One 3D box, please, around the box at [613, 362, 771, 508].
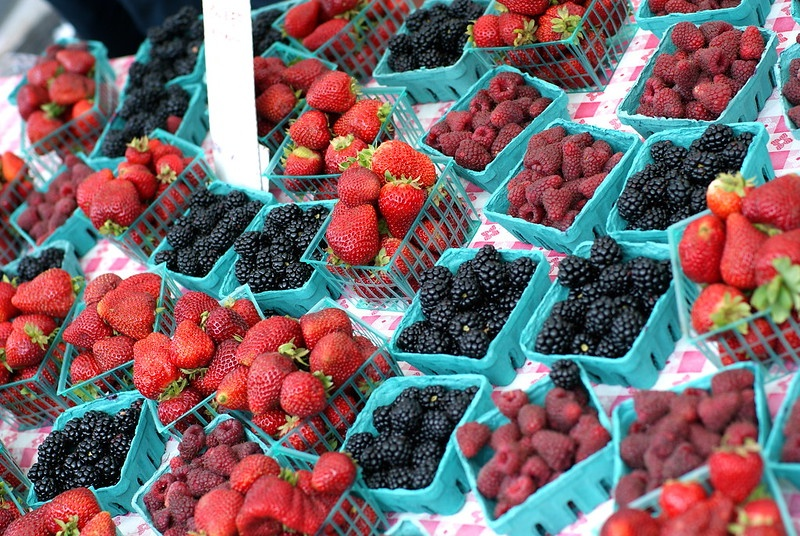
[{"bbox_3d":[1.233,0.753,3.071,0.612,0.844,0.277,-14,-75,34],"label":"box"}]
